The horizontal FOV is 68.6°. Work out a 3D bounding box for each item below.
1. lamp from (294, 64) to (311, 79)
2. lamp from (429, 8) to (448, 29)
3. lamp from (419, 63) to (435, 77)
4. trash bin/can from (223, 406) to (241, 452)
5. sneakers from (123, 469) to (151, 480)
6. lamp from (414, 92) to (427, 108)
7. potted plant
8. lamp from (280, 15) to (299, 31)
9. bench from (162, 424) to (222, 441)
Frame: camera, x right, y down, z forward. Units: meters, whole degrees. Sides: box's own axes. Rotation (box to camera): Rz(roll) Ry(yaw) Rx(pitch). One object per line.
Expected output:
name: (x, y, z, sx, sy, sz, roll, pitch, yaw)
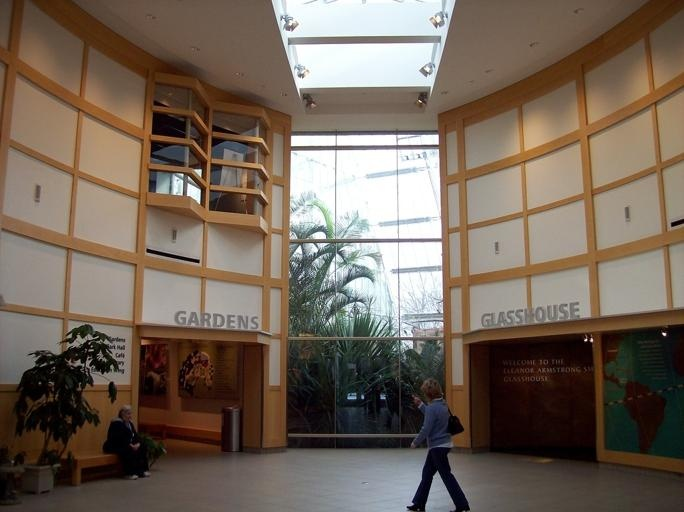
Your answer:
lamp: (-1.225, -5.626, 15.343, 0.389, 0.309, 0.531, 1, -11, -9)
lamp: (2.559, -6.230, 13.056, 0.484, 0.526, 0.439, -6, -13, 25)
lamp: (2.628, -5.742, 15.453, 0.454, 0.400, 0.828, -2, -12, 9)
trash bin/can: (-3.294, 5.202, 14.951, 0.543, 1.238, 0.342, 2, -12, -12)
sneakers: (-4.251, 4.613, 10.503, 0.447, 0.211, 0.160, -10, -18, 16)
lamp: (2.642, -5.148, 16.617, 0.365, 0.297, 0.732, -1, -12, 5)
potted plant: (-5.361, 2.885, 9.749, 1.663, 3.019, 2.079, 5, -13, -25)
lamp: (-1.385, -6.083, 13.182, 0.408, 0.379, 0.643, 0, -12, -3)
bench: (-5.105, 6.067, 16.956, 2.878, 0.451, 0.166, -10, -15, 37)
